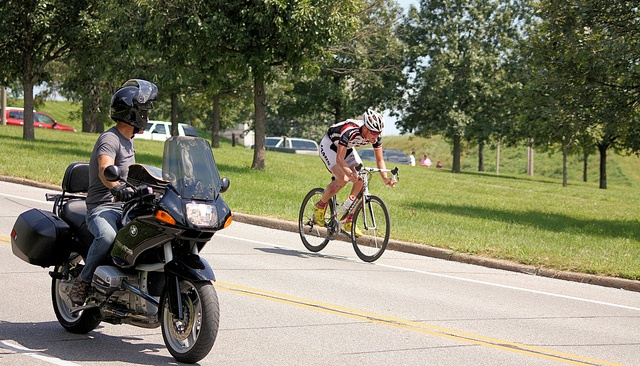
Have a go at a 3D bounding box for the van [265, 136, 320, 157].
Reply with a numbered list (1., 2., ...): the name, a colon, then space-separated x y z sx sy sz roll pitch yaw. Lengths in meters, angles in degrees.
1. van: -2.042 -2.860 67.818 3.943 1.346 2.066 0 4 -12

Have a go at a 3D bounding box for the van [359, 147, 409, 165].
1. van: 5.729 -2.237 70.736 3.974 1.215 1.903 -7 9 -40

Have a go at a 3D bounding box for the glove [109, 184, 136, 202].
1. glove: -5.775 0.287 24.575 0.668 0.277 0.488 8 6 34

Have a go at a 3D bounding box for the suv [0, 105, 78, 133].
1. suv: -19.736 -4.455 58.720 5.141 1.831 2.307 -1 4 -36
